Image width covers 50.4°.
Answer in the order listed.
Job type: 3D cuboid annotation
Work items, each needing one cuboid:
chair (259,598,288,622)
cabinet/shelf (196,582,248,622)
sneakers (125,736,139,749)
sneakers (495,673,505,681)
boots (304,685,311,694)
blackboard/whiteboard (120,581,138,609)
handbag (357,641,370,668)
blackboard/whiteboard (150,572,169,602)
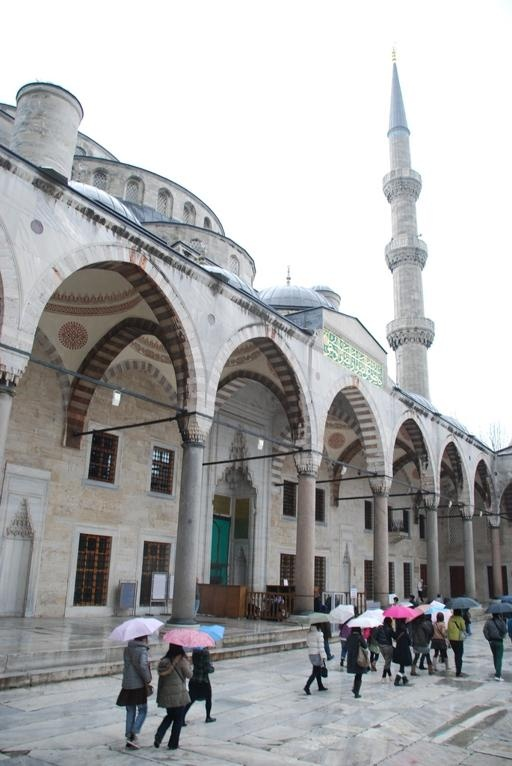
[{"bbox_3d":[0.365,4.445,10.773,0.461,0.524,0.488,-7,-26,20],"label":"chair"},{"bbox_3d":[-0.711,4.511,11.299,1.139,0.612,0.438,-14,-22,37],"label":"cabinet/shelf"},{"bbox_3d":[-0.695,2.023,3.060,0.038,0.049,0.112,-2,-30,12],"label":"sneakers"},{"bbox_3d":[2.961,3.542,6.620,0.086,0.123,0.273,-5,-23,22],"label":"sneakers"},{"bbox_3d":[0.492,2.950,5.249,0.041,0.098,0.130,-1,-15,16],"label":"boots"},{"bbox_3d":[-2.536,4.192,10.792,0.068,0.566,0.470,-17,-27,31],"label":"blackboard/whiteboard"},{"bbox_3d":[1.001,2.541,5.052,0.084,0.225,0.220,-8,-19,26],"label":"handbag"},{"bbox_3d":[-2.052,4.303,11.474,0.066,0.726,0.505,-17,-23,36],"label":"blackboard/whiteboard"}]
